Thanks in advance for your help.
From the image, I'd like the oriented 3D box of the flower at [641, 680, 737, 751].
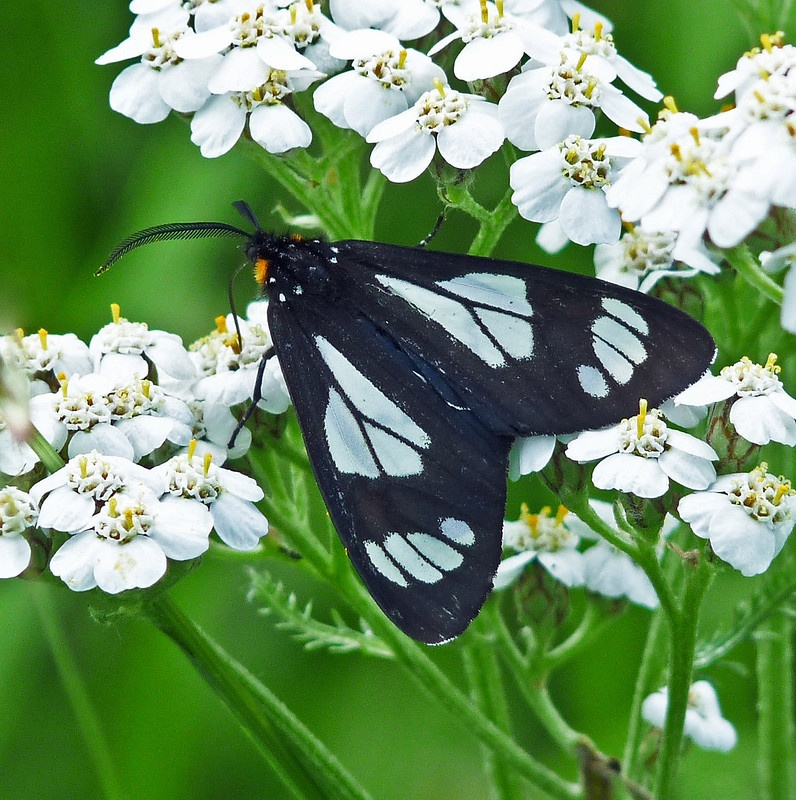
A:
[{"bbox_3d":[0.533,0.586,1.986,0.149,0.057,0.165,26,26,7],"label":"flower"}]
